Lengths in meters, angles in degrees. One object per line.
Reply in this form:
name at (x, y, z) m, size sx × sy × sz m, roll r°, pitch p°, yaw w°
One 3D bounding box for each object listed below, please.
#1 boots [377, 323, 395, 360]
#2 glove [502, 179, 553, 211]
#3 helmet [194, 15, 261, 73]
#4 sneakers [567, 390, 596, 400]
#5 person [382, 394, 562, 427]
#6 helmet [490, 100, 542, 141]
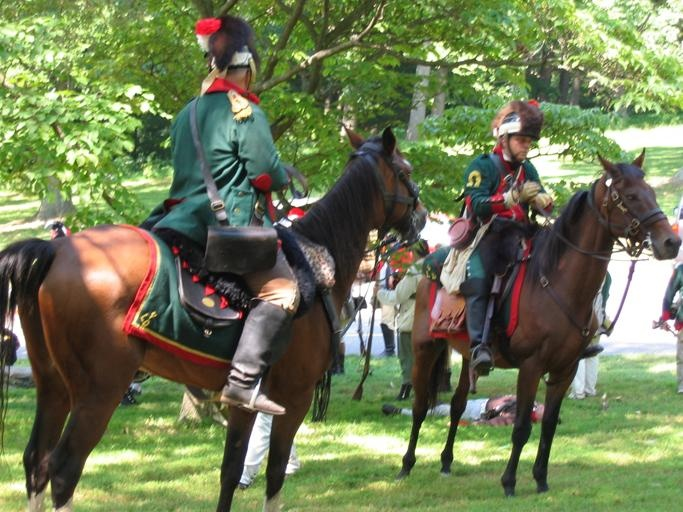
boots at (0.920, 1.747, 16.334) m, size 0.424 × 1.035 × 0.309 m, roll -5°, pitch -42°, yaw 3°
glove at (1.978, -0.650, 8.720) m, size 0.365 × 0.189 × 0.468 m, roll 9°, pitch -3°, yaw 12°
helmet at (-1.031, -1.852, 7.009) m, size 0.524 × 0.493 × 0.437 m, roll -13°, pitch 12°, yaw -13°
sneakers at (3.720, 2.170, 12.535) m, size 0.232 × 0.083 × 0.168 m, roll -2°, pitch 4°, yaw -11°
person at (1.939, 2.148, 11.262) m, size 1.627 × 0.375 × 0.880 m, roll -3°, pitch -1°, yaw 19°
helmet at (1.909, -1.504, 8.846) m, size 0.519 × 0.413 × 0.380 m, roll 9°, pitch 8°, yaw 40°
